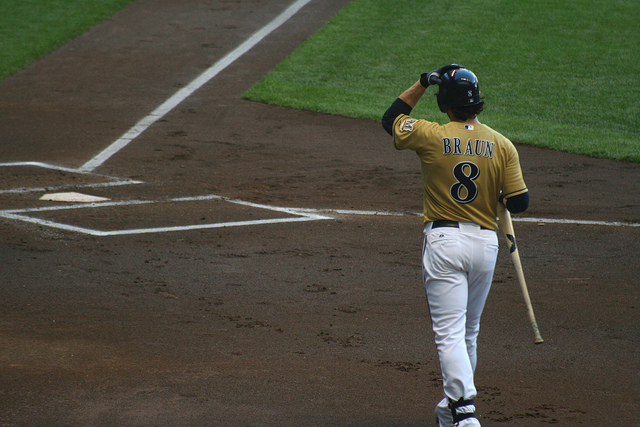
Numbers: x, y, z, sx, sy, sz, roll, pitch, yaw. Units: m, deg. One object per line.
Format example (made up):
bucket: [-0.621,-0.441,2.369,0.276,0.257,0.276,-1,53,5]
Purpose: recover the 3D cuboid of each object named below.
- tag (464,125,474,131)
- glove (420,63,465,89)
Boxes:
tag: [2.256,-1.288,18.249,0.132,0.070,0.054,1,18,-2]
glove: [1.840,-2.124,18.537,0.512,0.428,0.385,-38,3,19]
